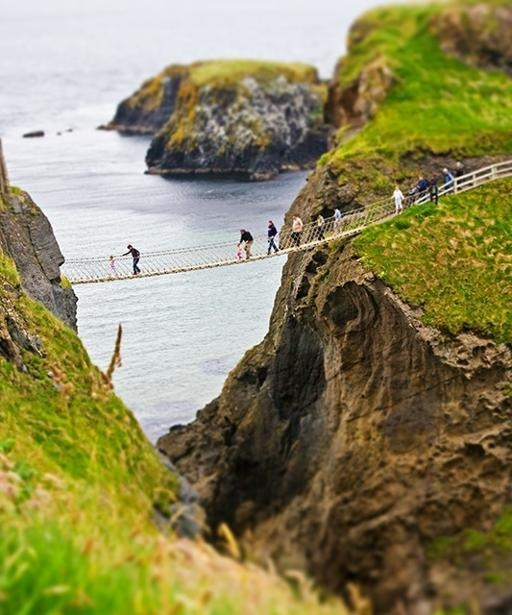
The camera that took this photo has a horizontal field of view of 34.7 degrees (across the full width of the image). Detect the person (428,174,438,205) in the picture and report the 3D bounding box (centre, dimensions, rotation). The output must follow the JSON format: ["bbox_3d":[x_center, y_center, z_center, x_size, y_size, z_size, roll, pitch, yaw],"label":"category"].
[{"bbox_3d":[5.160,-3.375,23.908,0.293,0.594,0.934,-1,16,12],"label":"person"}]
